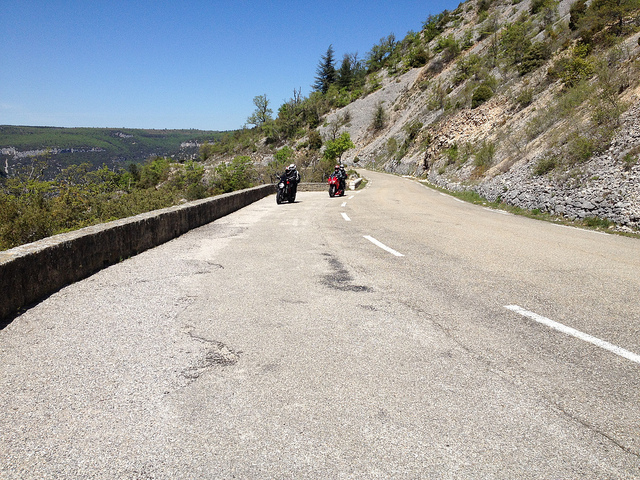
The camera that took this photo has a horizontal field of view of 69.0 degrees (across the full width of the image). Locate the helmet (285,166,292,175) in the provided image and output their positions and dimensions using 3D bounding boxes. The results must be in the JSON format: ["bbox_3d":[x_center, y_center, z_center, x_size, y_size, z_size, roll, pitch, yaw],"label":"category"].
[{"bbox_3d":[-1.456,-3.187,21.281,0.318,0.321,0.339,-2,10,10],"label":"helmet"}]

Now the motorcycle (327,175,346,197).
[{"bbox_3d":[0.775,-2.968,25.291,0.612,1.099,1.492,3,12,18],"label":"motorcycle"}]

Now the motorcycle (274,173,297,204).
[{"bbox_3d":[-1.532,-2.305,21.383,0.824,1.255,1.301,2,11,9],"label":"motorcycle"}]

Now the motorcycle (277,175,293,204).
[{"bbox_3d":[-1.611,-2.339,21.242,0.546,1.254,1.036,4,11,19],"label":"motorcycle"}]

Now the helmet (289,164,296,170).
[{"bbox_3d":[-1.245,-3.276,20.865,0.223,0.250,0.688,-2,12,-8],"label":"helmet"}]

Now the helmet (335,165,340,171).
[{"bbox_3d":[0.917,-3.948,25.558,0.256,0.318,0.271,0,4,17],"label":"helmet"}]
